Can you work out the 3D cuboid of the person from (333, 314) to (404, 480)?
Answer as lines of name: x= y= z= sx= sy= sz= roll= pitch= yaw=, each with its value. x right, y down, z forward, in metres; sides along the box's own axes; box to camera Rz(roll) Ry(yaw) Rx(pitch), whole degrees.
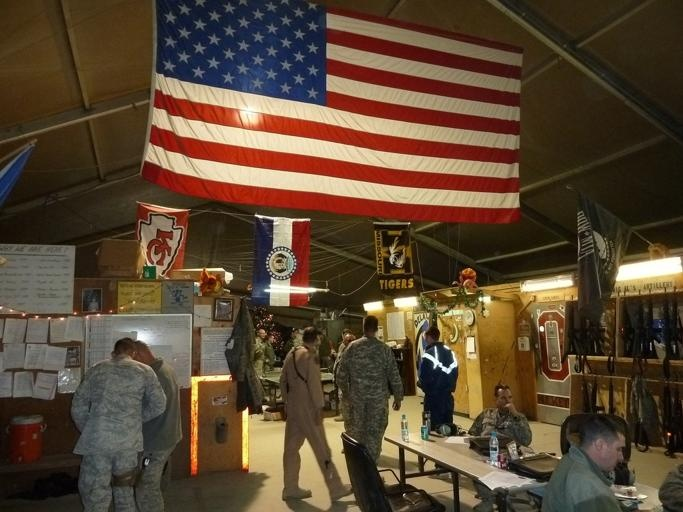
person: x=0.429 y=2.124 z=7.636 sx=0.936 sy=2.494 sz=0.617 roll=4 pitch=9 yaw=10

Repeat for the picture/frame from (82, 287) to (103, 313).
picture/frame: x=-4.098 y=0.732 z=8.142 sx=0.351 sy=0.529 sz=0.021 roll=-3 pitch=-1 yaw=-14

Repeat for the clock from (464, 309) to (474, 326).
clock: x=3.243 y=1.564 z=12.608 sx=0.082 sy=0.404 sz=0.493 roll=0 pitch=-6 yaw=-11

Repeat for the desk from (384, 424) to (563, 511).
desk: x=1.645 y=2.764 z=6.451 sx=0.861 sy=0.820 sz=1.600 roll=3 pitch=-10 yaw=-18

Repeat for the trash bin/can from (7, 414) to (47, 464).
trash bin/can: x=-4.762 y=2.767 z=7.486 sx=0.549 sy=0.771 sz=0.471 roll=-1 pitch=-8 yaw=-7

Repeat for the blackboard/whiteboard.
blackboard/whiteboard: x=-3.074 y=1.380 z=7.358 sx=1.173 sy=0.919 sz=0.046 roll=-3 pitch=3 yaw=-22

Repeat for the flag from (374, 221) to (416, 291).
flag: x=0.988 y=-0.037 z=9.477 sx=0.705 sy=1.347 sz=0.842 roll=-2 pitch=-6 yaw=4

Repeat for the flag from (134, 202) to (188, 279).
flag: x=-3.827 y=-0.275 z=10.549 sx=0.979 sy=1.839 sz=0.031 roll=8 pitch=-37 yaw=-25

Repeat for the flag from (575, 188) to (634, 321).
flag: x=3.488 y=0.013 z=6.733 sx=0.468 sy=1.670 sz=1.270 roll=-5 pitch=-7 yaw=34

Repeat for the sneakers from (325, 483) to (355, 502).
sneakers: x=-0.016 y=3.529 z=7.499 sx=0.162 sy=0.203 sz=0.471 roll=-3 pitch=-3 yaw=40

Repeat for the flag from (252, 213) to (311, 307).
flag: x=-1.166 y=0.070 z=9.618 sx=1.096 sy=1.755 sz=0.485 roll=0 pitch=-6 yaw=-8

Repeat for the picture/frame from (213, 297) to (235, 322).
picture/frame: x=-2.160 y=0.986 z=9.051 sx=0.381 sy=0.472 sz=0.046 roll=6 pitch=-19 yaw=-29

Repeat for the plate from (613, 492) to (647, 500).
plate: x=2.959 y=2.457 z=5.077 sx=0.193 sy=0.038 sz=0.120 roll=-3 pitch=-9 yaw=18
